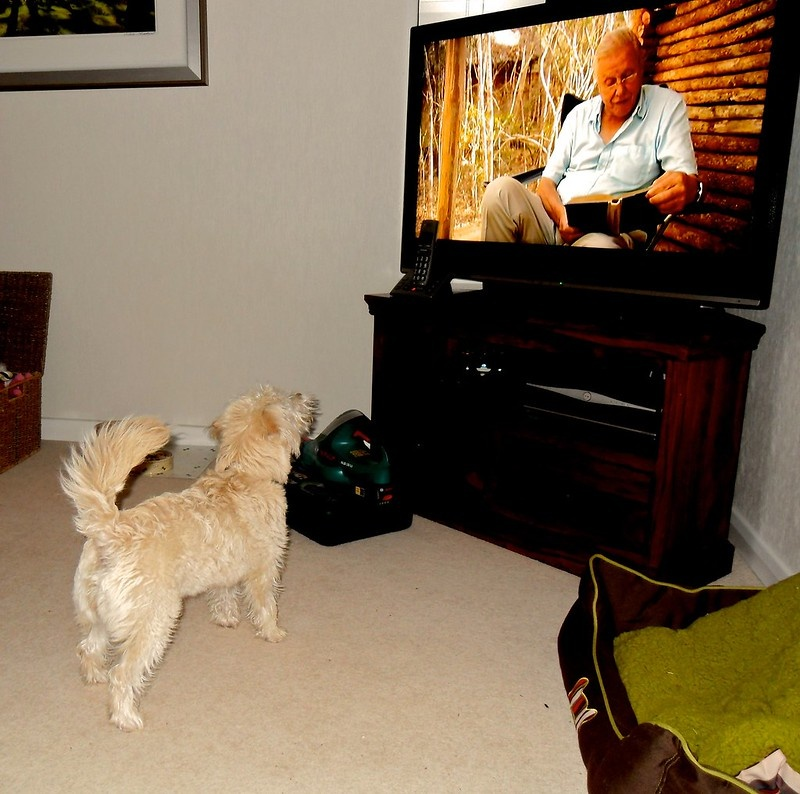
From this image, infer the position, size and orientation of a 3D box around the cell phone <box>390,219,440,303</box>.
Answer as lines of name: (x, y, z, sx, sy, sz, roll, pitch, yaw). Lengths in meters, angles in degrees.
cell phone: (0.074, -0.490, 2.527, 0.136, 0.249, 0.197, 10, 23, 8)

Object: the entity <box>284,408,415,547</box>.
entity: (-0.187, 0.300, 2.462, 0.278, 0.324, 0.498, -7, 24, -22)

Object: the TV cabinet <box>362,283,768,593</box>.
TV cabinet: (0.549, 0.138, 2.221, 0.753, 0.552, 0.292, 20, 27, 39)
